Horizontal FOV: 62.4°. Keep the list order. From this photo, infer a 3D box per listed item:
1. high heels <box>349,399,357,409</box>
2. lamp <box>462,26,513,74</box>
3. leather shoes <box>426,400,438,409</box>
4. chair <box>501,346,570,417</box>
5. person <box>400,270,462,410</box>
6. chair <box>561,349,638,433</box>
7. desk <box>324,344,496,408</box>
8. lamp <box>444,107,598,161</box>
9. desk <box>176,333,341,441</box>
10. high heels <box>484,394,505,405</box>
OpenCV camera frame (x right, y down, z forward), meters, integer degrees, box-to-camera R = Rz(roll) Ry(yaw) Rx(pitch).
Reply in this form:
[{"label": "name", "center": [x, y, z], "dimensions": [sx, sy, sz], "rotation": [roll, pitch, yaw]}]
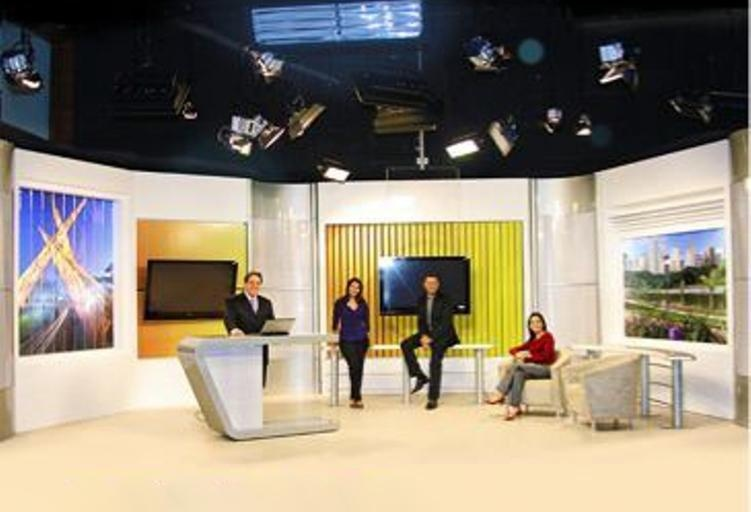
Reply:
[{"label": "high heels", "center": [-0.363, 2.352, 9.859], "dimensions": [0.098, 0.108, 0.200], "rotation": [0, -1, -14]}, {"label": "lamp", "center": [1.816, -3.315, 10.111], "dimensions": [0.613, 0.465, 0.228], "rotation": [-31, 25, 17]}, {"label": "leather shoes", "center": [0.888, 2.337, 9.792], "dimensions": [0.175, 0.125, 0.308], "rotation": [-1, -1, 9]}, {"label": "chair", "center": [2.375, 1.790, 8.837], "dimensions": [0.821, 0.989, 0.917], "rotation": [-9, -24, 29]}, {"label": "person", "center": [0.893, 1.376, 10.211], "dimensions": [0.646, 2.041, 0.791], "rotation": [-1, -1, 39]}, {"label": "chair", "center": [3.032, 1.710, 8.614], "dimensions": [0.761, 0.977, 1.151], "rotation": [0, 7, -4]}, {"label": "desk", "center": [0.563, 2.007, 10.554], "dimensions": [2.657, 1.020, 0.853], "rotation": [-1, -4, 3]}, {"label": "lamp", "center": [2.560, -2.196, 11.331], "dimensions": [2.645, 0.873, 1.239], "rotation": [0, -1, -2]}, {"label": "desk", "center": [-1.513, 1.776, 8.346], "dimensions": [2.019, 1.281, 0.761], "rotation": [3, -12, -28]}, {"label": "high heels", "center": [1.715, 2.087, 8.935], "dimensions": [0.298, 0.121, 0.159], "rotation": [2, -2, -4]}]
